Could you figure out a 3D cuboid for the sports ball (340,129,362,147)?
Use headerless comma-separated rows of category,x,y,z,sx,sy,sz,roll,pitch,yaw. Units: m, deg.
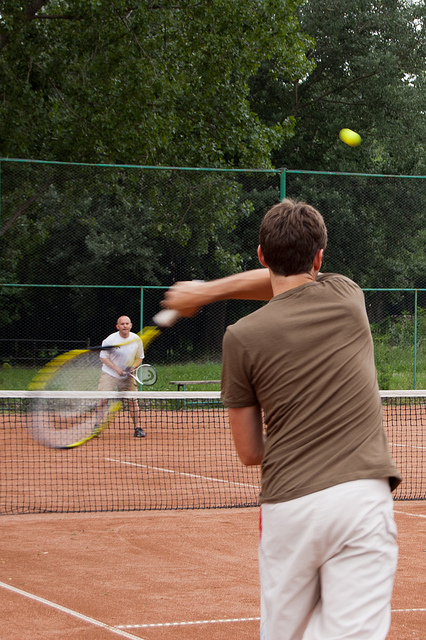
sports ball,1.875,-2.450,9.987,0.296,0.147,0.306,22,-5,2

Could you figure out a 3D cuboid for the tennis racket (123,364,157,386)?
tennis racket,-0.938,0.687,9.488,0.422,0.150,0.029,-3,0,-9

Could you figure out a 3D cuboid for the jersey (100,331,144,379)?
jersey,-0.995,0.362,8.411,0.450,0.449,0.231,3,12,-8

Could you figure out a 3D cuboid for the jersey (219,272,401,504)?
jersey,0.242,0.169,1.928,0.437,0.581,0.263,0,1,-2

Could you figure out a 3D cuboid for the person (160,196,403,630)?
person,0.267,0.217,1.946,0.435,1.094,0.304,1,2,41
